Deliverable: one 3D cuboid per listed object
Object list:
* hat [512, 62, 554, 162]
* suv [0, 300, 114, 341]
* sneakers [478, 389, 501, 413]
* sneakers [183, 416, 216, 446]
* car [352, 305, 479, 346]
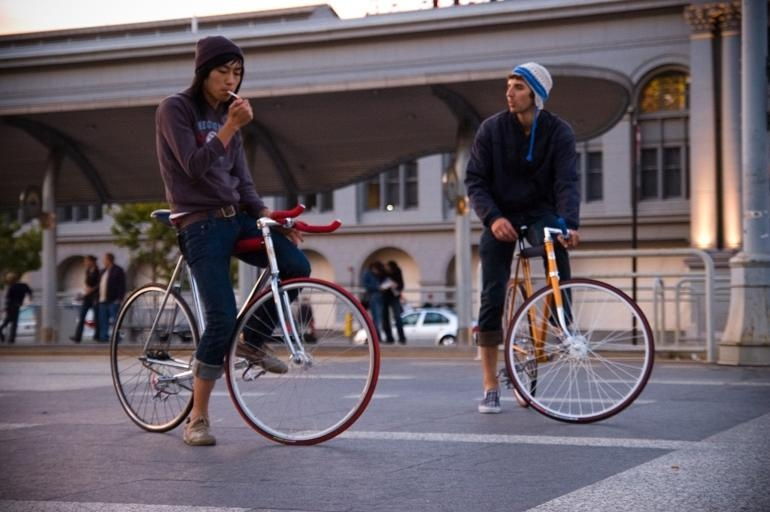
[{"bbox_3d":[1.673,-1.644,13.138,0.434,1.073,0.761,0,11,6],"label":"hat"},{"bbox_3d":[-7.930,1.572,27.093,2.143,1.075,1.271,2,2,-6],"label":"suv"},{"bbox_3d":[1.196,1.662,13.025,0.224,0.244,0.615,0,-3,5],"label":"sneakers"},{"bbox_3d":[-1.923,1.846,12.104,0.344,0.267,0.220,-3,11,-9],"label":"sneakers"},{"bbox_3d":[0.997,1.533,24.388,1.934,0.665,0.906,1,-2,-4],"label":"car"}]
